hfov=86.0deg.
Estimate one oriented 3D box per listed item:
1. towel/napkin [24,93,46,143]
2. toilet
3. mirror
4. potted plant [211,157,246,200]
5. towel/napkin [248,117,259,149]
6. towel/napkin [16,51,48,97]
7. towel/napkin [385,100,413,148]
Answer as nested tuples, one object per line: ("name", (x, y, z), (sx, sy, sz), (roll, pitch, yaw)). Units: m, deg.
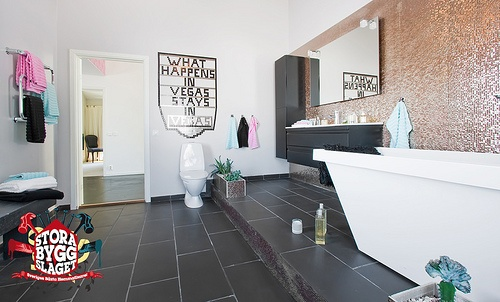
("towel/napkin", (-2.635, -0.378, 3.274), (0.222, 0.590, 0.299), (-11, 18, -34))
("toilet", (-0.923, 0.379, 4.343), (0.442, 0.908, 0.769), (-4, 15, -14))
("mirror", (1.369, -1.255, 4.004), (1.575, 1.007, 0.031), (-10, 12, -26))
("potted plant", (-0.447, 0.431, 4.403), (0.341, 0.494, 0.925), (-1, 6, -16))
("towel/napkin", (0.062, -0.334, 4.990), (0.223, 0.609, 0.237), (-2, 15, -6))
("towel/napkin", (-2.634, -0.954, 3.228), (0.153, 0.387, 0.410), (-1, -2, 0))
("towel/napkin", (1.918, -0.352, 3.379), (0.248, 0.606, 0.378), (-1, 15, -2))
